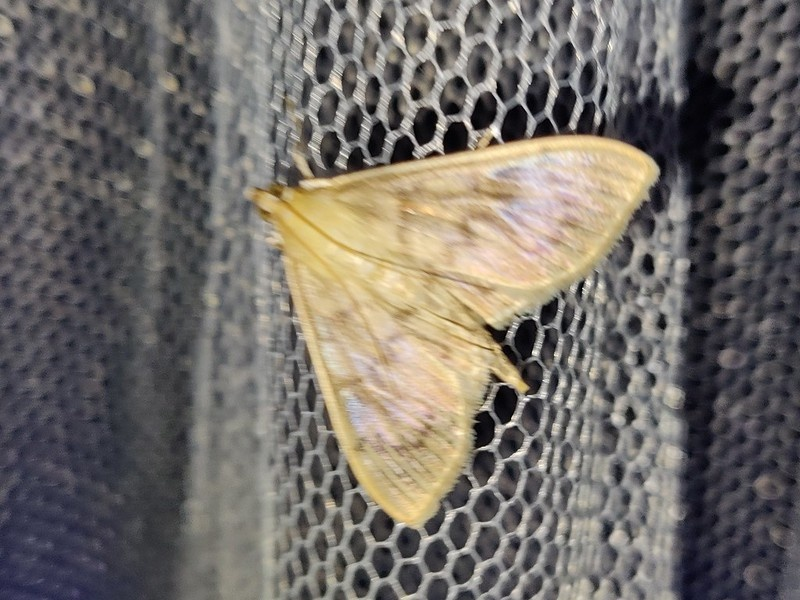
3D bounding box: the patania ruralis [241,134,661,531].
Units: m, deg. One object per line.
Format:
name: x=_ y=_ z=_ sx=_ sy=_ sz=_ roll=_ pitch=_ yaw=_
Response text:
patania ruralis: x=0.056 y=0.003 z=0.849 sx=0.384 sy=0.297 sz=0.106 roll=13 pitch=-97 yaw=30
